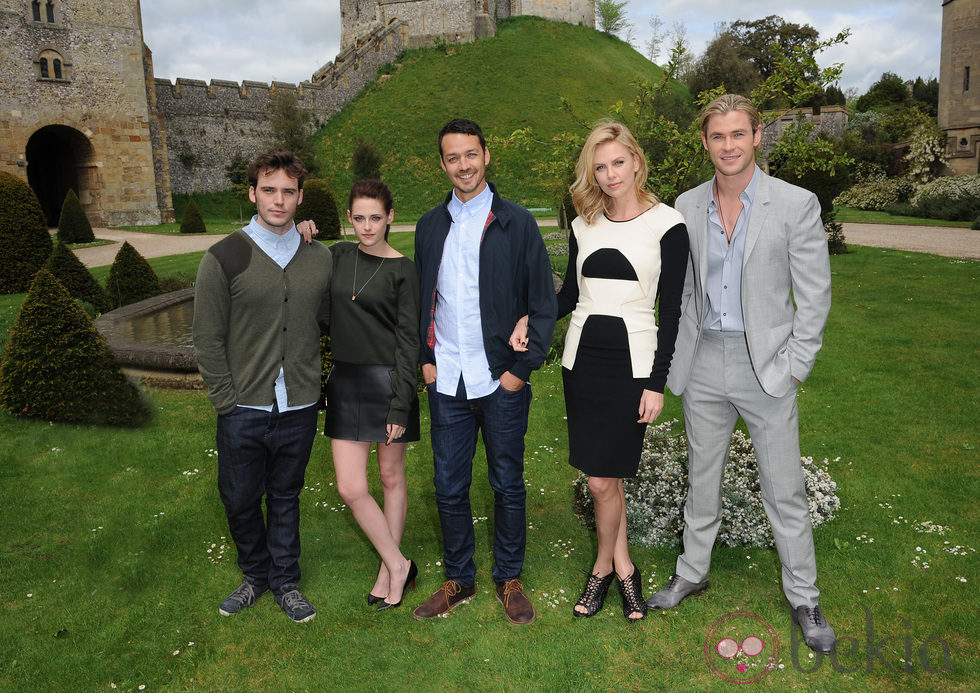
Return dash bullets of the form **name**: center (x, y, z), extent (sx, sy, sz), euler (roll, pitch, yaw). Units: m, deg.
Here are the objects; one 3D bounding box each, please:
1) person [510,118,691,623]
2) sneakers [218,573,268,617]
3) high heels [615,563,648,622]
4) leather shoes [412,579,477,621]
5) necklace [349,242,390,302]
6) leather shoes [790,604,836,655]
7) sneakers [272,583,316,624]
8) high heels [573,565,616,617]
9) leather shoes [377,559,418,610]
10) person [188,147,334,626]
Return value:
- **person**: center (0.892, 0.197, 4.868), extent (0.878, 3.478, 0.915), euler (6, 17, 24)
- **sneakers**: center (-1.847, 1.864, 5.102), extent (0.144, 0.168, 0.416), euler (39, 14, 3)
- **high heels**: center (1.053, 1.832, 4.957), extent (0.133, 0.157, 0.400), euler (-13, 50, 11)
- **leather shoes**: center (-0.319, 1.862, 5.028), extent (0.491, 0.193, 0.182), euler (-11, 19, -37)
- **necklace**: center (-0.891, -0.513, 4.919), extent (0.235, 0.342, 0.186), euler (2, 16, 12)
- **leather shoes**: center (2.272, 1.952, 4.726), extent (0.138, 0.139, 0.372), euler (-9, 24, -4)
- **sneakers**: center (-1.453, 1.872, 5.000), extent (0.165, 0.155, 0.350), euler (-31, 46, -25)
- **high heels**: center (0.779, 1.843, 5.068), extent (0.177, 0.480, 0.164), euler (35, -18, -34)
- **leather shoes**: center (-0.687, 1.838, 5.119), extent (0.147, 0.227, 0.446), euler (-5, -1, 30)
- **person**: center (-1.619, 0.292, 4.889), extent (0.995, 3.266, 0.728), euler (-8, 17, -25)
